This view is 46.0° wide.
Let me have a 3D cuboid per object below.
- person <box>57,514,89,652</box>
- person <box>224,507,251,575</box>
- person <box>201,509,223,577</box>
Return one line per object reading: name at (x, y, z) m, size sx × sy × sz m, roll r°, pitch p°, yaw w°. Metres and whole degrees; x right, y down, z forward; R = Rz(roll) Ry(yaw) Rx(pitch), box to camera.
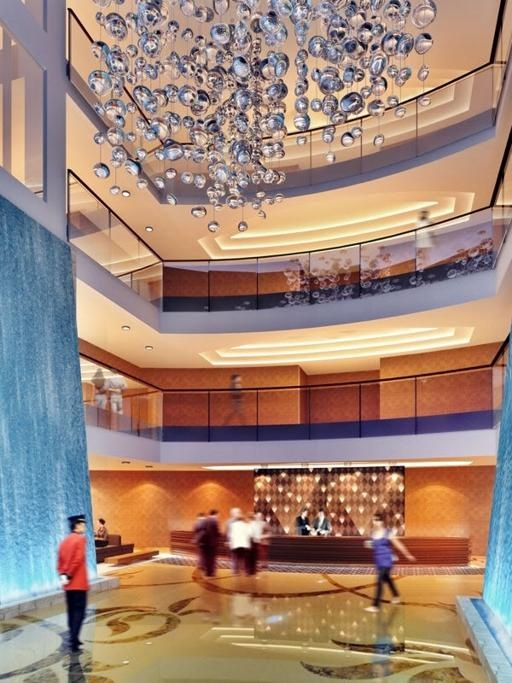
person at (-1.811, 2.355, 5.942) m, size 0.286 × 1.230 × 0.600 m, roll 3°, pitch -8°, yaw -16°
person at (-0.228, 3.737, 11.651) m, size 0.462 × 1.236 × 0.473 m, roll -10°, pitch 25°, yaw 6°
person at (-0.877, 3.855, 11.482) m, size 0.297 × 1.222 × 0.737 m, roll 2°, pitch -8°, yaw -4°
